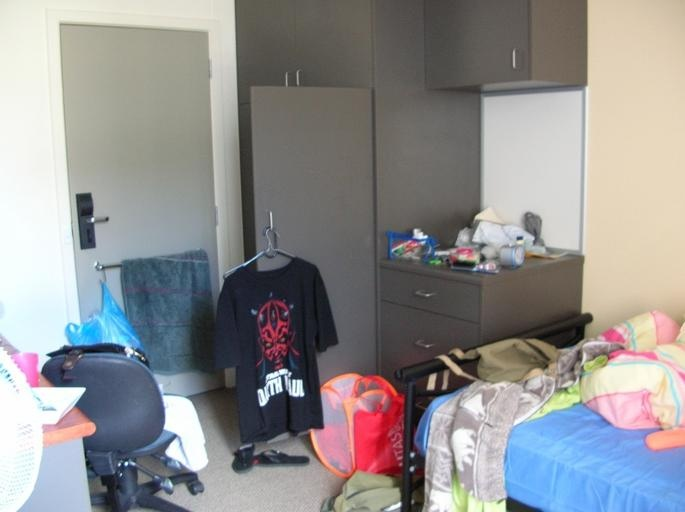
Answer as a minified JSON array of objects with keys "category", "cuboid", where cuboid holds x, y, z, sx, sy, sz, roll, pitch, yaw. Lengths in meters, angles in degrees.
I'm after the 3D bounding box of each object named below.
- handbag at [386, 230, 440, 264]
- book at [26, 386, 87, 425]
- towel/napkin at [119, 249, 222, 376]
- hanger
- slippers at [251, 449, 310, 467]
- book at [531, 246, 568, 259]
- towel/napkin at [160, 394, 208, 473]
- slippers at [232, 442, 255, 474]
[{"category":"handbag","cuboid":[0.390,-0.066,3.211,0.271,0.157,0.128,1,11,21]},{"category":"book","cuboid":[-0.933,0.465,1.831,0.141,0.053,0.117,3,10,9]},{"category":"towel/napkin","cuboid":[-1.068,0.328,3.455,0.680,0.968,0.127,-6,13,-16]},{"category":"hanger","cuboid":[-0.465,-0.025,3.224,0.320,0.213,0.023,-11,21,-34]},{"category":"slippers","cuboid":[-0.330,1.060,3.049,0.262,0.073,0.105,-2,5,1]},{"category":"book","cuboid":[1.138,-0.027,3.152,0.193,0.047,0.194,5,13,40]},{"category":"towel/napkin","cuboid":[-0.748,0.824,2.693,0.230,0.389,0.089,-9,0,-34]},{"category":"slippers","cuboid":[-0.526,1.065,3.016,0.126,0.099,0.121,-6,10,-16]}]
